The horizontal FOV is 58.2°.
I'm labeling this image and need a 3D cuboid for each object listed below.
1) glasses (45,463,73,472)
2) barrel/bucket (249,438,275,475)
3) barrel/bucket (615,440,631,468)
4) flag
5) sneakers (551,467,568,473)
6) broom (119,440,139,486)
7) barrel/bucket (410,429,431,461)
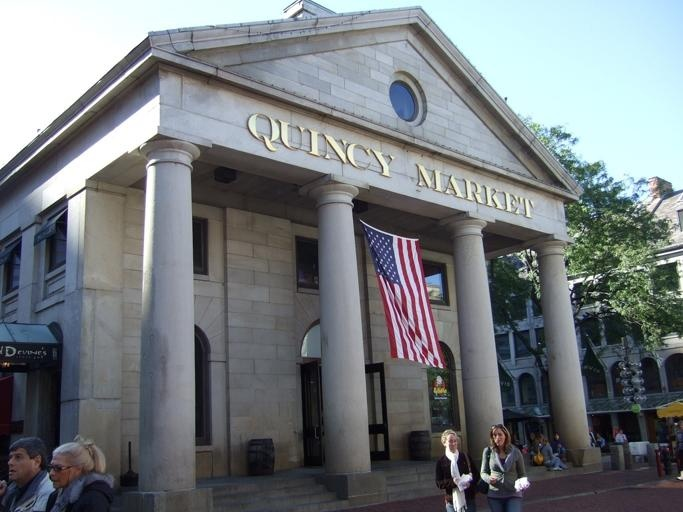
[{"bbox_3d":[-2.741,2.045,5.944,0.252,0.075,0.083,-13,-18,26],"label":"glasses"},{"bbox_3d":[-2.293,5.703,17.446,0.692,0.906,0.705,-3,-19,-1],"label":"barrel/bucket"},{"bbox_3d":[10.308,7.258,22.320,0.357,0.893,1.034,-13,-18,29],"label":"barrel/bucket"},{"bbox_3d":[1.824,1.185,17.515,2.136,3.971,0.493,8,-20,-39],"label":"flag"},{"bbox_3d":[7.219,7.030,20.328,0.366,0.175,0.234,-4,-11,-8],"label":"sneakers"},{"bbox_3d":[-5.234,5.174,15.151,0.526,0.989,0.527,-19,-22,30],"label":"broom"},{"bbox_3d":[2.563,6.497,21.125,0.873,0.928,0.889,-3,-22,-1],"label":"barrel/bucket"}]
